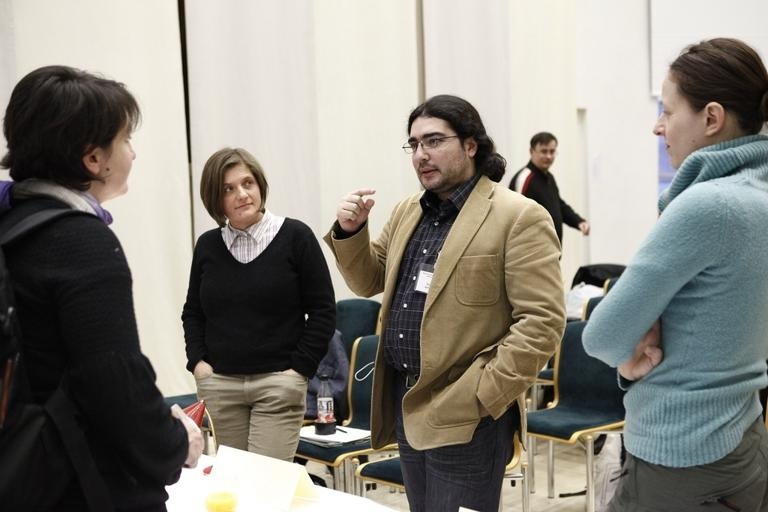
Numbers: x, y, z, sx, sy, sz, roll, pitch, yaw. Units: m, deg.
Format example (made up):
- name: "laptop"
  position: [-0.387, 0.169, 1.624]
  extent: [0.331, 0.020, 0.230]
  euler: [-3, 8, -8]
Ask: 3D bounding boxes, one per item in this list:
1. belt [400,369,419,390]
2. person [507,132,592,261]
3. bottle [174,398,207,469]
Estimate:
- name: "belt"
  position: [0.086, 0.441, 2.311]
  extent: [0.048, 0.066, 0.065]
  euler: [4, -11, -22]
- name: "person"
  position: [1.422, -0.257, 5.585]
  extent: [0.735, 1.643, 0.517]
  euler: [9, -13, -40]
- name: "bottle"
  position: [-0.508, 0.462, 1.688]
  extent: [0.116, 0.198, 0.069]
  euler: [6, -13, -24]
